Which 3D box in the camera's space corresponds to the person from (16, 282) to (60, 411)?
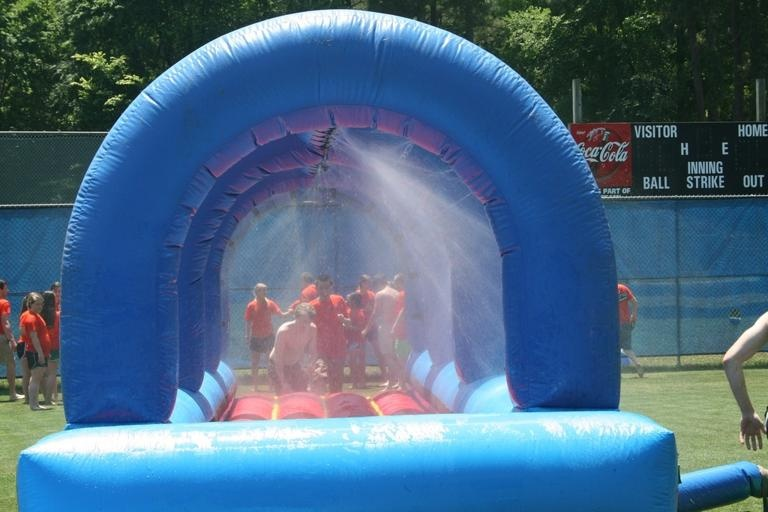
[{"bbox_3d":[-5.403,1.492,15.929,0.485,1.778,0.621,0,-6,-21],"label":"person"}]
